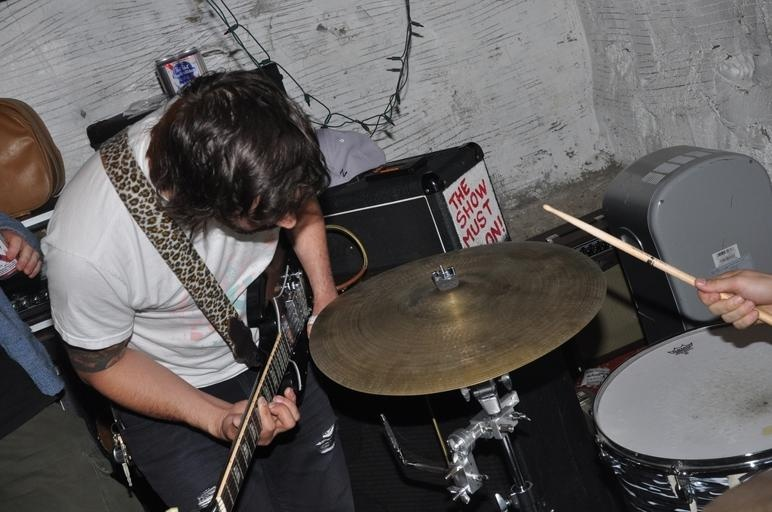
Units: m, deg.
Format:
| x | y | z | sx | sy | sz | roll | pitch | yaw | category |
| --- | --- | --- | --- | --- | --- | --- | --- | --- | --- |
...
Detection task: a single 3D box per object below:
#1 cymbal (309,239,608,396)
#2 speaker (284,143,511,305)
| x | y | z | sx | sy | sz | roll | pitch | yaw | category |
| --- | --- | --- | --- | --- | --- | --- | --- | --- | --- |
| 0.238 | 0.207 | 2.277 | 0.685 | 0.153 | 0.668 | -21 | 32 | -16 | cymbal |
| 0.034 | -0.107 | 2.766 | 0.532 | 0.460 | 0.312 | -23 | 5 | 27 | speaker |
